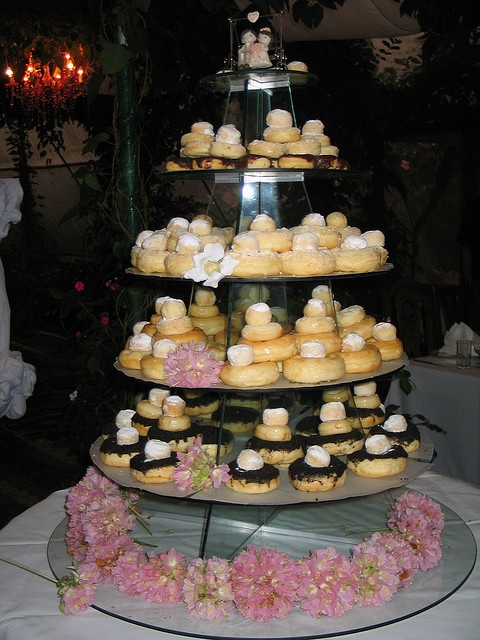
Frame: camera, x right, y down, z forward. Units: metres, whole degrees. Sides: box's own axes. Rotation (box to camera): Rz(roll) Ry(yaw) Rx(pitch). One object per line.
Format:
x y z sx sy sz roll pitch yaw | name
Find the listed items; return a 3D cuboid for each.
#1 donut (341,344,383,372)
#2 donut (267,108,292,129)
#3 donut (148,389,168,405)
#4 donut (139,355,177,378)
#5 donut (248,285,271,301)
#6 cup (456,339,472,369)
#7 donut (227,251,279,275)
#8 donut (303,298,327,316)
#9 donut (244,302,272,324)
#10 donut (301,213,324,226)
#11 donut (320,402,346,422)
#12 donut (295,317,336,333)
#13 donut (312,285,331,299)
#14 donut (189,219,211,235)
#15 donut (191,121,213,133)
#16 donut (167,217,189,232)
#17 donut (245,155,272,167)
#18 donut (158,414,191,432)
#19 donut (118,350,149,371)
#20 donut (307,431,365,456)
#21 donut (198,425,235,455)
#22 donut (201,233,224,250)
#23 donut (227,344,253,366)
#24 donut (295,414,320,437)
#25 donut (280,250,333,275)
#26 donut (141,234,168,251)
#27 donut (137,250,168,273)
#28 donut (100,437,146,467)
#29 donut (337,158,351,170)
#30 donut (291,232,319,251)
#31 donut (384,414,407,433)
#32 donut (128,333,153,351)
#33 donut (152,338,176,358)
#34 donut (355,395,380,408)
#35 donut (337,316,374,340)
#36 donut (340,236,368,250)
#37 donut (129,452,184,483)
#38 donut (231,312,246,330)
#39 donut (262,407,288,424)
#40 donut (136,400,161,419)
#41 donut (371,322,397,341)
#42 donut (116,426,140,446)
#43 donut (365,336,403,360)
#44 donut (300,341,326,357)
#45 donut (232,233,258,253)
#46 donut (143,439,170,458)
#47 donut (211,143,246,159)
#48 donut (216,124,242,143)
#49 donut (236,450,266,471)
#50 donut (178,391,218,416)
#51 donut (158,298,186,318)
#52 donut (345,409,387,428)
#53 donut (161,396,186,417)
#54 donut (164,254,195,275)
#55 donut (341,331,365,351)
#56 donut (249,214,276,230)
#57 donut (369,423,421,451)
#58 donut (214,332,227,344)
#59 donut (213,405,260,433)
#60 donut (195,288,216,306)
0.364 0.116 1.626 0.089 0.029 0.090 -3 4 31 | donut
0.131 -0.659 1.810 0.087 0.082 0.107 -2 4 5 | donut
-0.287 0.265 1.910 0.062 0.037 0.060 -3 7 -42 | donut
-0.240 0.139 1.579 0.073 0.041 0.065 19 29 0 | donut
0.068 -0.092 1.887 0.075 0.057 0.021 -4 4 -23 | donut
1.298 0.191 3.155 0.086 0.150 0.181 -1 4 21 | cup
0.060 -0.152 1.489 0.174 0.073 0.065 -4 4 -34 | donut
0.232 -0.034 1.684 0.068 0.053 0.047 -2 4 5 | donut
0.053 -0.014 1.550 0.068 0.056 0.066 -6 -6 25 | donut
0.243 -0.343 1.823 0.062 0.030 0.060 -16 19 -38 | donut
0.292 0.294 1.731 0.077 0.057 0.064 -3 -26 -4 | donut
0.232 0.018 1.672 0.118 0.050 0.060 -1 4 6 | donut
0.290 -0.097 1.952 0.053 0.046 0.051 -34 33 -11 | donut
-0.123 -0.287 1.693 0.065 0.051 0.068 -3 4 -8 | donut
-0.129 -0.638 1.821 0.062 0.019 0.056 6 11 15 | donut
-0.206 -0.320 1.833 0.071 0.020 0.063 5 30 5 | donut
0.057 -0.448 1.544 0.053 0.016 0.050 10 21 17 | donut
-0.224 0.327 1.760 0.064 0.028 0.064 10 14 40 | donut
-0.344 0.127 1.761 0.079 0.033 0.072 -3 16 -28 | donut
0.305 0.400 1.744 0.218 0.073 0.083 -3 4 -23 | donut
-0.076 0.381 1.739 0.123 0.052 0.118 -9 20 -40 | donut
-0.073 -0.238 1.640 0.069 0.052 0.063 -3 12 -24 | donut
0.004 0.097 1.462 0.072 0.055 0.067 -2 4 -2 | donut
0.235 0.366 1.889 0.080 0.016 0.073 -7 15 8 | donut
0.204 -0.163 1.541 0.162 0.078 0.137 -3 4 -12 | donut
-0.268 -0.252 1.763 0.083 0.024 0.068 1 34 8 | donut
-0.271 -0.181 1.678 0.094 0.051 0.084 16 29 26 | donut
-0.379 0.410 1.707 0.099 0.025 0.086 6 25 2 | donut
0.336 -0.500 1.753 0.051 0.022 0.059 0 29 0 | donut
0.192 -0.226 1.590 0.076 0.064 0.123 -2 4 8 | donut
0.527 0.353 1.846 0.062 0.018 0.064 -14 16 48 | donut
-0.322 0.077 1.772 0.071 0.058 0.064 -3 4 -13 | donut
-0.218 0.082 1.576 0.064 0.033 0.058 -2 8 -15 | donut
0.490 0.307 2.055 0.071 0.019 0.064 -1 2 -1 | donut
0.417 0.027 1.950 0.091 0.028 0.097 -12 4 42 | donut
0.357 -0.238 1.693 0.081 0.044 0.064 -1 4 9 | donut
-0.232 0.411 1.563 0.101 0.031 0.091 -10 21 -43 | donut
-0.006 0.004 1.864 0.032 0.053 0.059 6 -2 -32 | donut
0.114 0.306 1.740 0.082 0.052 0.084 -2 4 1 | donut
-0.319 0.309 1.905 0.069 0.020 0.069 7 1 27 | donut
0.494 0.041 1.855 0.075 0.051 0.068 -1 -7 0 | donut
-0.363 0.372 1.746 0.059 0.027 0.055 4 -3 17 | donut
0.496 0.096 1.841 0.098 0.040 0.089 -1 2 -1 | donut
0.193 0.078 1.498 0.052 0.024 0.052 1 2 39 | donut
0.018 -0.210 1.510 0.067 0.035 0.064 -6 9 -38 | donut
-0.236 0.380 1.600 0.058 0.020 0.054 15 28 16 | donut
-0.035 -0.513 1.672 0.107 0.057 0.074 -2 4 -2 | donut
-0.034 -0.568 1.679 0.076 0.064 0.069 -5 29 -26 | donut
0.029 0.390 1.509 0.056 0.030 0.056 0 4 0 | donut
-0.165 0.306 2.081 0.123 0.031 0.116 3 5 21 | donut
-0.200 -0.032 1.657 0.070 0.054 0.065 -1 -7 30 | donut
0.455 0.353 1.958 0.127 0.031 0.115 -2 3 8 | donut
-0.213 0.280 1.756 0.068 0.052 0.064 -1 6 -14 | donut
-0.174 -0.164 1.534 0.082 0.044 0.076 5 14 15 | donut
0.340 0.070 1.644 0.060 0.027 0.052 -6 39 4 | donut
0.068 -0.295 1.647 0.063 0.044 0.058 -5 14 -21 | donut
0.518 0.389 1.827 0.106 0.034 0.107 2 0 37 | donut
-0.065 0.063 1.869 0.041 0.039 0.126 -2 3 -4 | donut
-0.008 0.354 1.964 0.176 0.045 0.159 1 12 -5 | donut
-0.124 -0.083 1.961 0.072 0.047 0.068 -4 14 -32 | donut
